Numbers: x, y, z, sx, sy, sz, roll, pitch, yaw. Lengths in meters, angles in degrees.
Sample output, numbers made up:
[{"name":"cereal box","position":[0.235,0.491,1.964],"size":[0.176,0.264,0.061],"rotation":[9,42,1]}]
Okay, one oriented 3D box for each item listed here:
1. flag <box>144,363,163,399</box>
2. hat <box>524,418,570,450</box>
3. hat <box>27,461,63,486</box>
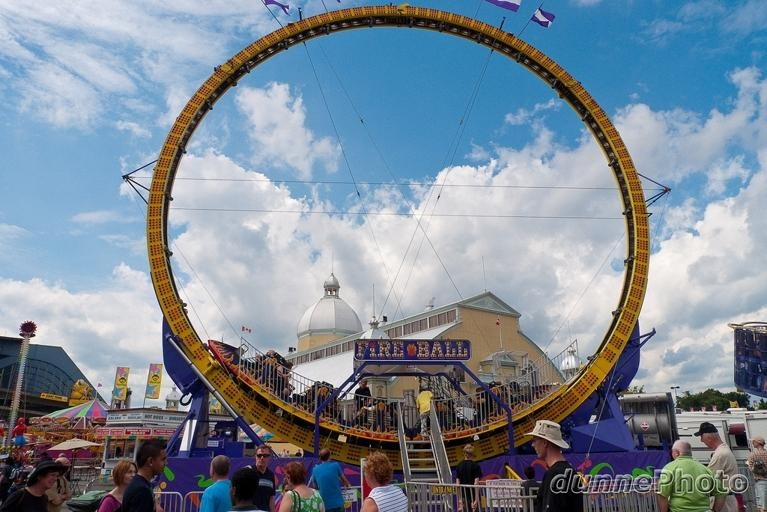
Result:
[{"name":"flag","position":[-34.491,18.858,93.534],"size":[1.750,5.180,1.825],"rotation":[4,-22,-11]},{"name":"hat","position":[3.754,4.000,13.834],"size":[0.806,0.426,0.680],"rotation":[35,-24,-19]},{"name":"hat","position":[-8.004,5.087,14.573],"size":[0.658,0.196,0.501],"rotation":[-31,-32,-16]}]
